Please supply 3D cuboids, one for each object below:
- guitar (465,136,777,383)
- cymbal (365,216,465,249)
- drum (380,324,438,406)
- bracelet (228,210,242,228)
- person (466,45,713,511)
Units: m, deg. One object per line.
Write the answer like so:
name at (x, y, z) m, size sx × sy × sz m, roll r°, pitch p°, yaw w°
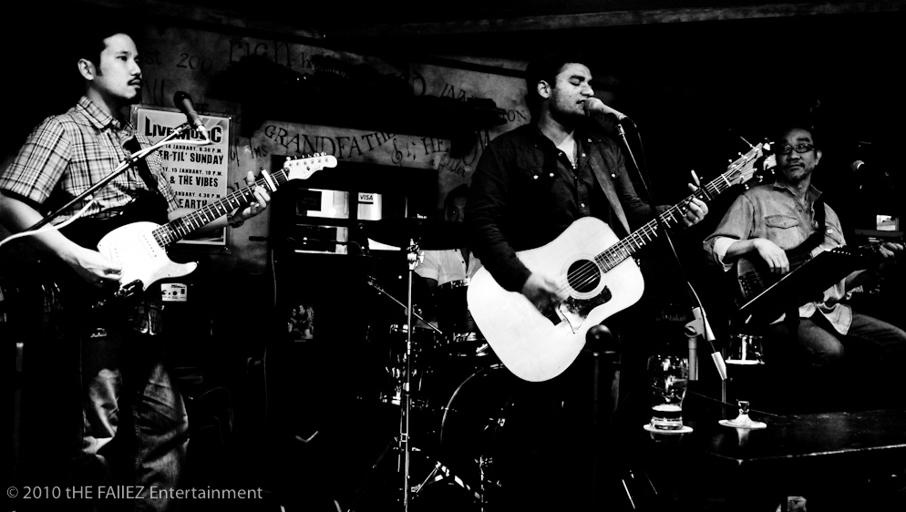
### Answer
guitar at (1.267, 0.002, 6.255) m, size 2.902 × 1.110 × 0.324 m, roll -34°, pitch -5°, yaw -8°
cymbal at (-0.218, -0.152, 5.851) m, size 0.767 × 0.239 × 0.226 m, roll 5°, pitch 9°, yaw -16°
drum at (-0.308, 0.750, 6.045) m, size 0.409 × 0.620 × 0.173 m, roll 7°, pitch -1°, yaw -34°
bracelet at (-1.538, -0.247, 5.896) m, size 0.091 × 0.116 × 0.029 m, roll -15°, pitch 37°, yaw -27°
person at (0.763, 0.048, 6.088) m, size 1.625 × 3.425 × 0.519 m, roll 10°, pitch -17°, yaw -28°
